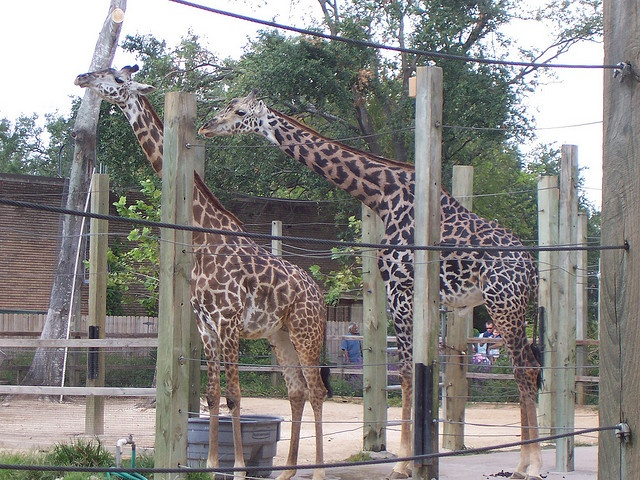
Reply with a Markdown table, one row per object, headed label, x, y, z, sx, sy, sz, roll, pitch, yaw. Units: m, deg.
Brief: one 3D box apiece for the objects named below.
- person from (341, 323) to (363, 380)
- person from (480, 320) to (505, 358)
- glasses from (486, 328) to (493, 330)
| label | x | y | z | sx | sy | sz | roll | pitch | yaw |
| --- | --- | --- | --- | --- | --- | --- | --- | --- | --- |
| person | 0.887 | 2.807 | 34.346 | 0.632 | 1.502 | 0.403 | -9 | 7 | -15 |
| person | 4.066 | 2.529 | 33.441 | 0.362 | 1.096 | 0.313 | -16 | -3 | 7 |
| glasses | 4.015 | 2.121 | 33.692 | 0.085 | 0.050 | 0.114 | -8 | -21 | 29 |
